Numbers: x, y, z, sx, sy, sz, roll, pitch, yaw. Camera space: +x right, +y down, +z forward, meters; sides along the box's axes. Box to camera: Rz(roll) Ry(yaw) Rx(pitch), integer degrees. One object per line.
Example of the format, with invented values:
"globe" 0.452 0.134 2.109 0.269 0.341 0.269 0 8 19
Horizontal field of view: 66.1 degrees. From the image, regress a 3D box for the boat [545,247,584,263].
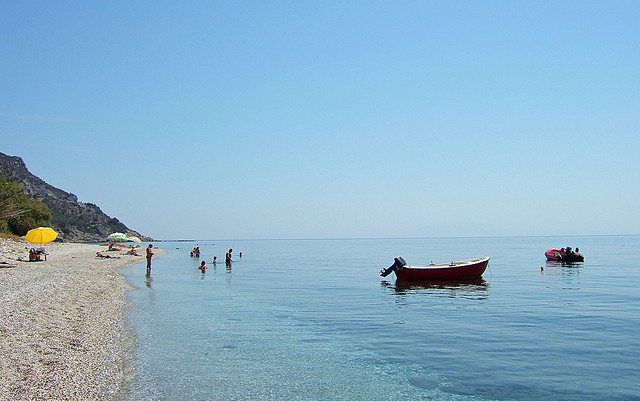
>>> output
"boat" 34.396 7.536 69.069 2.328 1.500 4.126 3 -1 10
